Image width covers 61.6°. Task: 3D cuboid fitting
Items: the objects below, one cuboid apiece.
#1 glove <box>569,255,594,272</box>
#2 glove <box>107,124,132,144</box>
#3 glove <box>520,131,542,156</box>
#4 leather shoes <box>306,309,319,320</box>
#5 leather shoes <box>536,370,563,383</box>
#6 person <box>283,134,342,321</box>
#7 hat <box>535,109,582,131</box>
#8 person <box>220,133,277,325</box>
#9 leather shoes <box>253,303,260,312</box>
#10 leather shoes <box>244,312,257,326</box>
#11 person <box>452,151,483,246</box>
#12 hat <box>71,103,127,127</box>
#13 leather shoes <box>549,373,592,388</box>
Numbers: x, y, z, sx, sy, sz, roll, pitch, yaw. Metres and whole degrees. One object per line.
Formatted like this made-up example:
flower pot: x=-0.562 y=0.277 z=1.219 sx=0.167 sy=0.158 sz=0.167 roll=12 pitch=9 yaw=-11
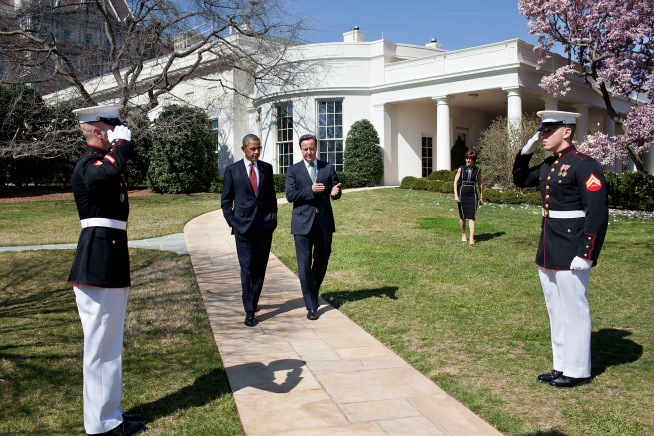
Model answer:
glove: x=2.985 y=0.529 z=6.429 sx=0.162 sy=0.171 sz=0.210 roll=4 pitch=2 yaw=-26
glove: x=-2.236 y=-0.898 z=5.900 sx=0.243 sy=0.193 sz=0.073 roll=-5 pitch=-12 yaw=-7
glove: x=2.565 y=-0.937 z=6.852 sx=0.077 sy=0.182 sz=0.289 roll=20 pitch=-27 yaw=-2
leather shoes: x=-0.212 y=1.388 z=8.219 sx=0.186 sy=0.146 sz=0.302 roll=0 pitch=15 yaw=-3
leather shoes: x=2.675 y=1.902 z=6.614 sx=0.315 sy=0.132 sz=0.118 roll=3 pitch=-2 yaw=-10
person: x=-0.213 y=0.108 z=8.292 sx=0.809 sy=2.681 sz=1.055 roll=0 pitch=14 yaw=-2
hat: x=2.829 y=-1.208 z=6.695 sx=0.380 sy=0.156 sz=0.357 roll=-6 pitch=8 yaw=-9
person: x=-1.090 y=0.268 z=8.141 sx=0.793 sy=2.288 sz=0.927 roll=-6 pitch=16 yaw=-22
leather shoes: x=-1.070 y=1.350 z=8.290 sx=0.096 sy=0.060 sz=0.138 roll=0 pitch=-21 yaw=-5
leather shoes: x=-1.116 y=1.428 z=7.976 sx=0.185 sy=0.160 sz=0.324 roll=-2 pitch=15 yaw=-7
person: x=3.181 y=-0.483 z=12.366 sx=0.600 sy=2.000 sz=1.042 roll=4 pitch=15 yaw=15
hat: x=-2.488 y=-1.110 z=5.920 sx=0.364 sy=0.154 sz=0.352 roll=1 pitch=6 yaw=6
leather shoes: x=2.867 y=1.928 z=6.519 sx=0.492 sy=0.204 sz=0.179 roll=3 pitch=-9 yaw=-1
